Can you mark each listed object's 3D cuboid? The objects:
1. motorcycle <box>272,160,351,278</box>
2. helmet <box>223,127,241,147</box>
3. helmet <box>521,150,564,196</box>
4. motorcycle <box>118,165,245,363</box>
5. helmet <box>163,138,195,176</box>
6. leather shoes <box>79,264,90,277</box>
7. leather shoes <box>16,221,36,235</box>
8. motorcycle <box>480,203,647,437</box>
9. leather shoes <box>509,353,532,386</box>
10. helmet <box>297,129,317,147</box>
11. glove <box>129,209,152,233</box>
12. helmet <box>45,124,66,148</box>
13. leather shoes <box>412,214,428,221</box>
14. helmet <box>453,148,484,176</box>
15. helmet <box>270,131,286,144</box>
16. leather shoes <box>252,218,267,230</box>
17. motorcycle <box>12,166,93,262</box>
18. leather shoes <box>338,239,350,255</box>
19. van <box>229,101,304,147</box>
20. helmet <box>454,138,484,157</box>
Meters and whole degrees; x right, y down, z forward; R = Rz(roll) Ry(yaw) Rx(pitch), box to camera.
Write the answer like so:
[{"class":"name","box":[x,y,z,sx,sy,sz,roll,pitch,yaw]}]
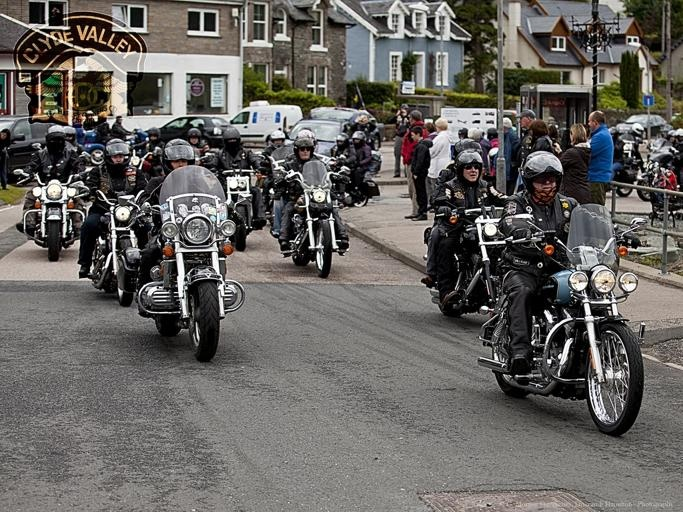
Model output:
[{"class":"motorcycle","box":[-0.455,-0.671,14.458,0.819,1.975,1.538,-3,8,-27]},{"class":"helmet","box":[-2.280,-2.499,17.343,0.300,0.375,0.414,-3,5,-10]},{"class":"helmet","box":[1.772,-0.759,7.451,0.365,0.361,0.438,-2,19,-7]},{"class":"motorcycle","box":[-1.646,0.049,8.836,0.873,1.988,1.606,-4,9,-36]},{"class":"helmet","box":[-1.923,-1.168,9.642,0.434,0.420,0.382,12,19,32]},{"class":"leather shoes","box":[-3.778,0.224,12.255,0.142,0.187,0.201,3,-9,-7]},{"class":"leather shoes","box":[-6.037,-0.478,15.735,0.463,0.173,0.212,13,18,10]},{"class":"motorcycle","box":[1.873,0.511,6.831,0.699,1.828,1.623,-4,9,-34]},{"class":"leather shoes","box":[1.498,0.955,6.961,0.118,0.350,0.138,4,41,5]},{"class":"helmet","box":[-0.622,-2.096,14.911,0.300,0.414,0.323,-1,4,3]},{"class":"glove","box":[-2.657,-0.433,10.975,0.471,0.354,0.171,5,1,41]},{"class":"helmet","box":[-5.366,-2.229,15.553,0.331,0.391,0.586,-2,8,-20]},{"class":"leather shoes","box":[1.962,-0.959,20.779,0.379,0.132,0.151,0,-35,-16]},{"class":"helmet","box":[1.665,-1.205,10.840,0.279,0.312,0.340,2,-14,-6]},{"class":"helmet","box":[-1.423,-2.643,18.580,0.260,0.310,0.309,-5,15,-15]},{"class":"leather shoes","box":[-1.756,-0.667,17.735,0.212,0.167,0.221,4,-1,-9]},{"class":"motorcycle","box":[-5.692,-0.848,16.447,1.279,1.645,3.036,0,5,-18]},{"class":"leather shoes","box":[0.022,-0.151,14.258,0.170,0.237,0.221,2,8,9]},{"class":"van","box":[-4.504,-7.412,47.363,4.868,2.493,2.338,5,8,32]},{"class":"helmet","box":[1.675,-1.429,10.919,0.275,0.363,0.334,2,6,-2]}]
